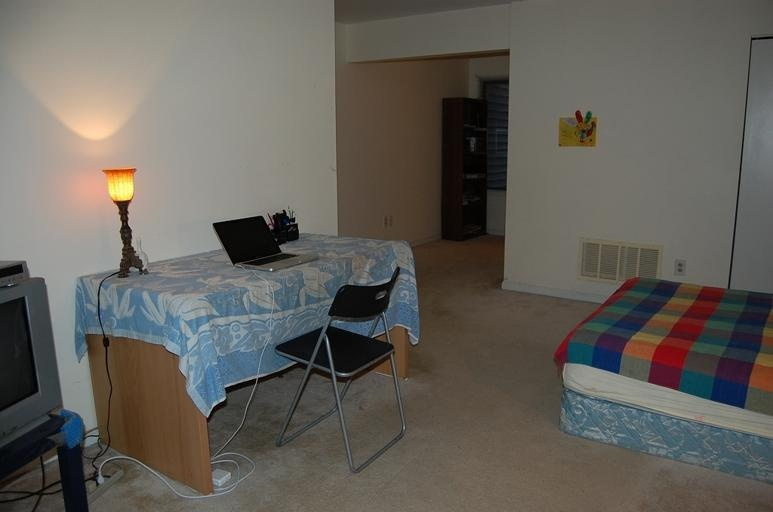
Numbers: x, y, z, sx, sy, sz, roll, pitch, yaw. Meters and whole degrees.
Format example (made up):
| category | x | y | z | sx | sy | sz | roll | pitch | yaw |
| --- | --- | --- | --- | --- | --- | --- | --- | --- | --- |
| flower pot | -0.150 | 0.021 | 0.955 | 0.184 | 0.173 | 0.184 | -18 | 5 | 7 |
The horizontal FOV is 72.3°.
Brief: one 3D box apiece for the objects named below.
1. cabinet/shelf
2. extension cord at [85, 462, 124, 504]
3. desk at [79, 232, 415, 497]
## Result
| category | x | y | z | sx | sy | sz | roll | pitch | yaw |
| --- | --- | --- | --- | --- | --- | --- | --- | --- | --- |
| cabinet/shelf | 1.227 | -1.383 | 8.518 | 0.391 | 2.213 | 0.828 | 9 | 17 | 44 |
| extension cord | -1.638 | 1.338 | 3.083 | 0.084 | 0.041 | 0.150 | -1 | 23 | 21 |
| desk | -0.984 | 0.780 | 3.445 | 1.332 | 1.065 | 2.038 | 7 | 15 | 32 |
